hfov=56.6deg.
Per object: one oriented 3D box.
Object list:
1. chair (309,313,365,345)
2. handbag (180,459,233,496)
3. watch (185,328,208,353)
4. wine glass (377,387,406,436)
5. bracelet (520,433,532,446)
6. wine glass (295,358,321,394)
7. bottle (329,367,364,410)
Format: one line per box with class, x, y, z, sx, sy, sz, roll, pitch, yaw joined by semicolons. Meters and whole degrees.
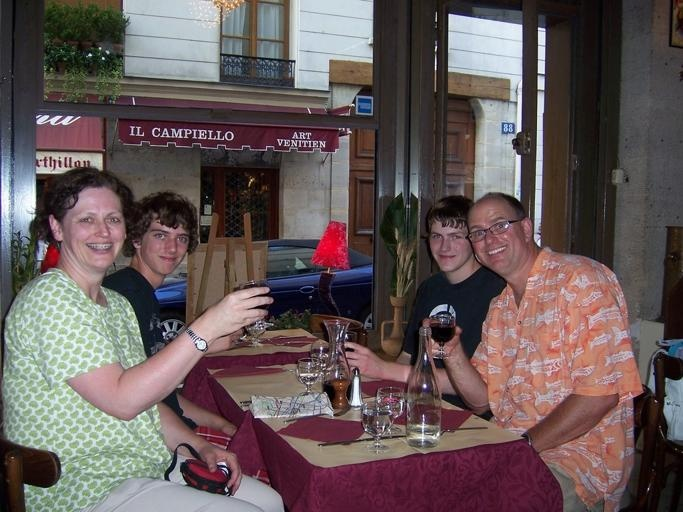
chair;-0.022;0.395;3.655;0.264;0.326;0.289;2;-4;-9
handbag;-0.491;0.787;2.295;0.160;0.072;0.132;12;-3;20
watch;-0.475;0.276;2.096;0.052;0.086;0.082;-44;20;-20
wine glass;0.190;0.570;2.342;0.120;0.200;0.130;0;-7;0
bracelet;0.677;0.668;2.324;0.047;0.031;0.037;6;15;31
wine glass;-0.145;0.491;2.630;0.111;0.184;0.114;3;-5;-6
bottle;0.022;0.534;2.558;0.163;0.179;0.092;12;-15;-43
